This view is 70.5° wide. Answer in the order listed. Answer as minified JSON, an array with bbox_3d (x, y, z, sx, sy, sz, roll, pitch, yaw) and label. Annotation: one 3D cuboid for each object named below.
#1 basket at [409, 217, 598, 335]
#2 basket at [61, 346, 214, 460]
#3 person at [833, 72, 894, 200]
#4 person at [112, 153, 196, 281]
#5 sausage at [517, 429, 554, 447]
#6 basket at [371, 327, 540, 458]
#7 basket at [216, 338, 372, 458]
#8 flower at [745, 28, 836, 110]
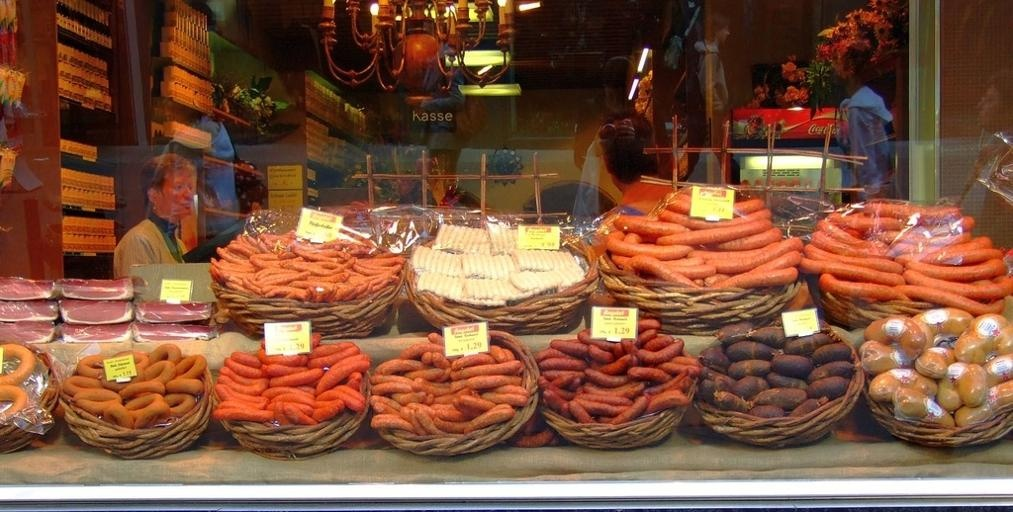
[{"bbox_3d":[-0.051,0.160,5.050,1.022,0.297,0.967,9,20,23],"label":"basket"},{"bbox_3d":[-2.461,0.985,4.779,0.909,0.338,0.747,13,21,33],"label":"basket"},{"bbox_3d":[2.689,-0.894,5.343,0.373,0.943,0.213,-2,3,-12],"label":"person"},{"bbox_3d":[-2.673,-0.319,5.430,0.558,0.889,0.192,-2,4,-26],"label":"person"},{"bbox_3d":[0.200,1.209,4.789,0.199,0.052,0.103,-8,-5,-11],"label":"sausage"},{"bbox_3d":[-0.315,0.931,4.791,0.933,0.346,0.875,-20,23,-37],"label":"basket"},{"bbox_3d":[-1.544,1.000,4.875,0.882,0.390,0.913,26,32,29],"label":"basket"},{"bbox_3d":[2.262,-1.457,5.713,0.743,0.573,0.412,-6,16,-3],"label":"flower"}]
